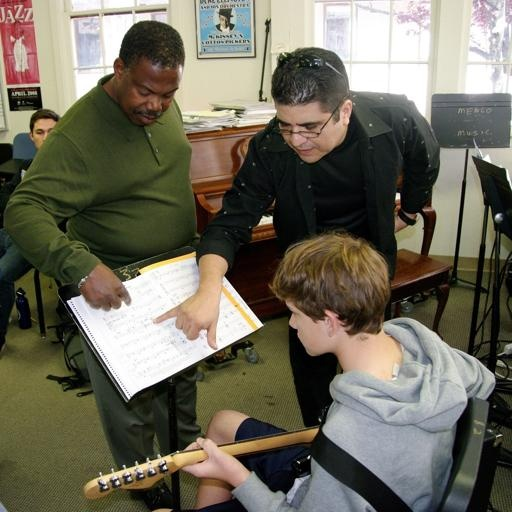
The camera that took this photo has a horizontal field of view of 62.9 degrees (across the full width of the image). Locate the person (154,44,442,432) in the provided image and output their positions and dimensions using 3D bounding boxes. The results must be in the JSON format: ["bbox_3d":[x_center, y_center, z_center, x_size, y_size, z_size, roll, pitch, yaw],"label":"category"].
[{"bbox_3d":[0.208,0.014,1.798,1.148,1.603,0.501,-33,45,-16],"label":"person"}]

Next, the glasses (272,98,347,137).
[{"bbox_3d":[0.180,-0.424,1.307,0.145,0.045,0.156,17,64,50],"label":"glasses"}]

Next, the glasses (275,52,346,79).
[{"bbox_3d":[0.167,-0.583,1.270,0.201,0.083,0.111,-1,16,8],"label":"glasses"}]

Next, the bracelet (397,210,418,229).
[{"bbox_3d":[0.704,-0.173,1.949,0.064,0.042,0.082,26,16,-31],"label":"bracelet"}]
